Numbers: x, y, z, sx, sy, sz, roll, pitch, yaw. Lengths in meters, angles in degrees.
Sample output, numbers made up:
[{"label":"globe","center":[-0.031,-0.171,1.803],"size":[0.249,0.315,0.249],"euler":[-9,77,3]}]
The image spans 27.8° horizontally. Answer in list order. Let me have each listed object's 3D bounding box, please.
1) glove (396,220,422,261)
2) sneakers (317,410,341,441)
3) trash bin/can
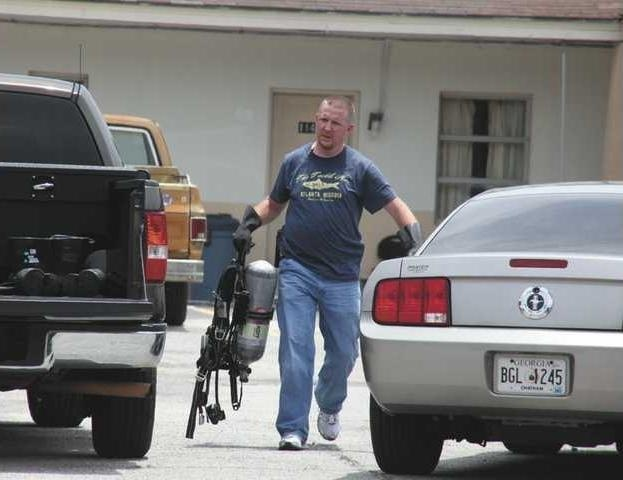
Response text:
[{"label":"glove","center":[0.649,0.033,8.292],"size":[0.162,0.280,0.165],"euler":[-7,-7,15]},{"label":"sneakers","center":[0.128,1.216,8.560],"size":[0.119,0.159,0.353],"euler":[5,19,-7]},{"label":"trash bin/can","center":[-1.421,0.252,16.954],"size":[0.626,1.272,0.681],"euler":[4,-3,-36]}]
